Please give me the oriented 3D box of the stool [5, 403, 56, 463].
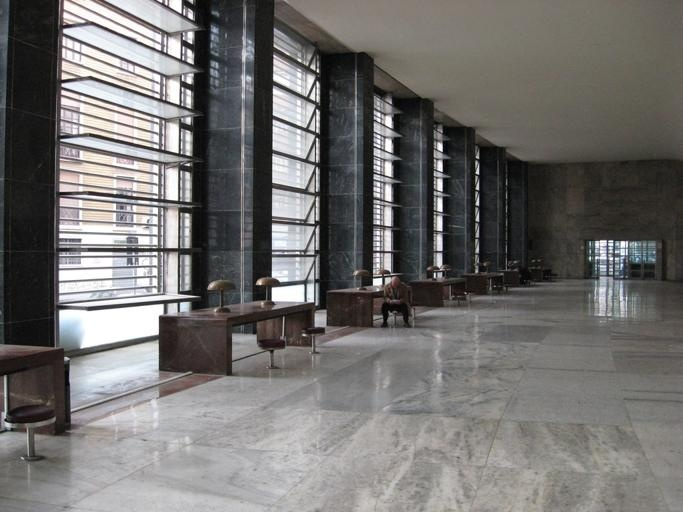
[{"bbox_3d":[-3.241,1.836,5.718,0.545,0.534,0.550,0,-1,21],"label":"stool"}]
